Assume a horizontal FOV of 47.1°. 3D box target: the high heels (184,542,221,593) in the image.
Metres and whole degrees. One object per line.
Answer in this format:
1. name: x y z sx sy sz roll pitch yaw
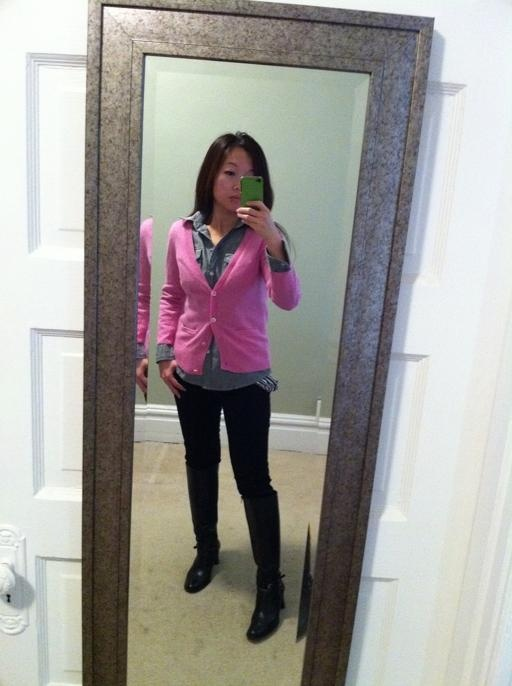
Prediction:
1. high heels: -0.101 0.408 1.076 0.027 0.062 0.083 16 47 9
